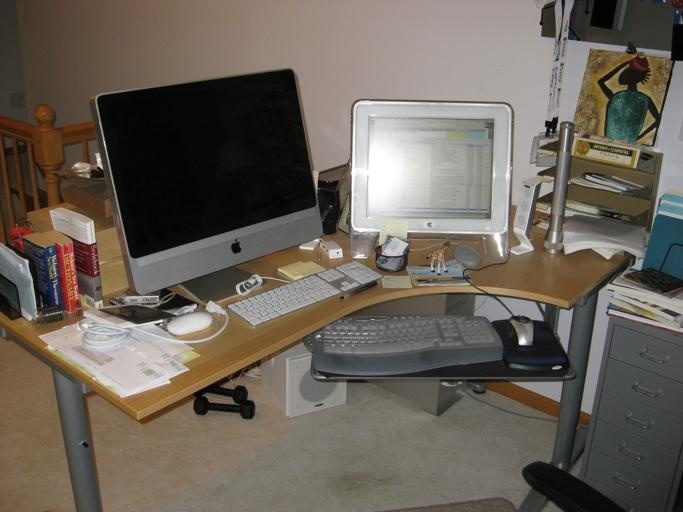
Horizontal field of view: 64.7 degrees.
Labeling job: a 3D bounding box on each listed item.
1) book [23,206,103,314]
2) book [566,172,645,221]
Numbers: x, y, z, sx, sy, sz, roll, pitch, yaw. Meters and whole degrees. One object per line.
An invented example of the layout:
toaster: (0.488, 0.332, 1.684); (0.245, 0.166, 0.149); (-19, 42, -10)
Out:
book: (-0.889, 0.028, 1.698); (0.215, 0.273, 0.194); (15, 34, 18)
book: (1.113, -0.234, 2.259); (0.247, 0.076, 0.186); (17, 22, 17)
